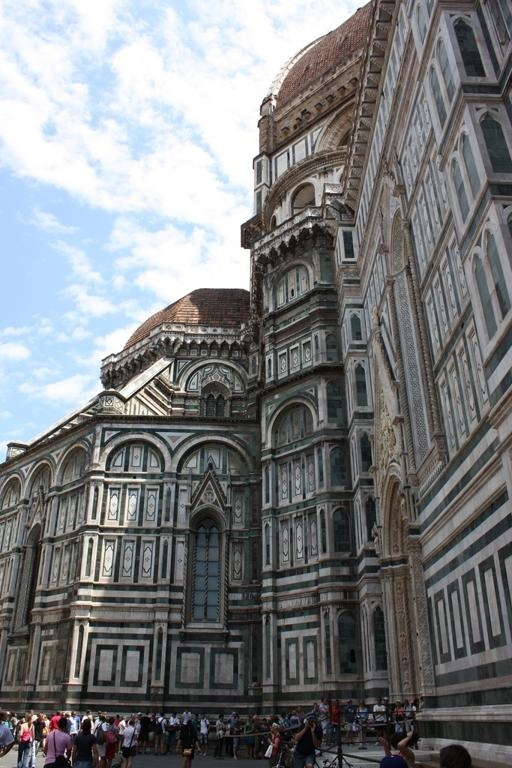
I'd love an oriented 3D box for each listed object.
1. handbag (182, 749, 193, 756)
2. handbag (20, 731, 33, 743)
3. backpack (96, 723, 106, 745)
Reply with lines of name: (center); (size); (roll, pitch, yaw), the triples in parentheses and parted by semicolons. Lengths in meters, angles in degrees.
handbag: (-1.561, 8.506, 12.387); (0.177, 0.199, 0.181); (-3, -16, 14)
handbag: (-4.839, 7.491, 11.428); (0.164, 0.096, 0.235); (11, -64, 7)
backpack: (-3.316, 7.565, 11.537); (0.170, 0.338, 0.517); (8, -28, -15)
